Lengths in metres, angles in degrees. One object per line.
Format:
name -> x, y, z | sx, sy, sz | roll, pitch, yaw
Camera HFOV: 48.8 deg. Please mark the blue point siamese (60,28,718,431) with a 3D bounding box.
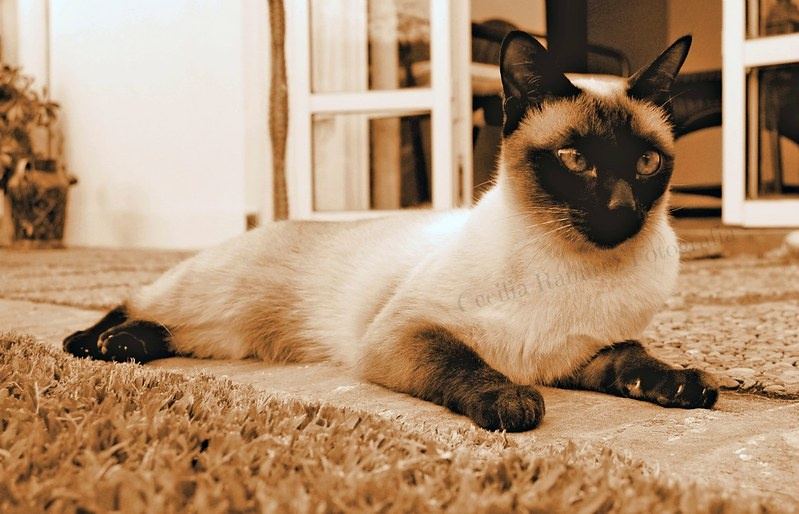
blue point siamese -> 0.151, -0.151, 3.431 | 2.086, 1.404, 0.779 | 2, 9, 23
